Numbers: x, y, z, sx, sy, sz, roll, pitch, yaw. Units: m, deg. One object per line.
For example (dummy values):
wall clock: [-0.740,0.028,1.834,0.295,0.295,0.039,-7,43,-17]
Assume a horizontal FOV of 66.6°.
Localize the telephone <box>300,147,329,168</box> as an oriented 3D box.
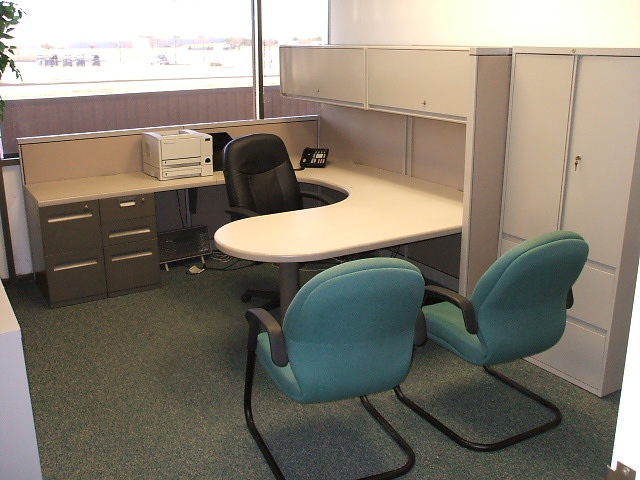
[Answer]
telephone: [-0.062,-0.764,4.524,0.203,0.054,0.202,4,57,14]
